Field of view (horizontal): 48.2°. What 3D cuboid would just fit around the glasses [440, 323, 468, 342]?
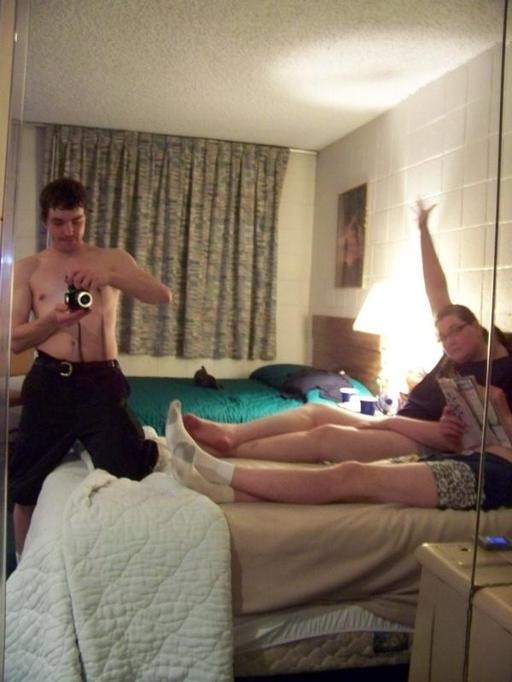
[{"bbox_3d":[0.481,-0.024,1.403,0.063,0.049,0.016,4,5,17],"label":"glasses"}]

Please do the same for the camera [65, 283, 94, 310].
[{"bbox_3d":[-0.363,-0.089,1.172,0.037,0.059,0.058,-12,8,-26],"label":"camera"}]

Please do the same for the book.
[{"bbox_3d":[0.514,0.166,1.337,0.064,0.203,0.154,-17,7,-41],"label":"book"}]

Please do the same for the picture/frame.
[{"bbox_3d":[0.253,-0.284,1.504,0.018,0.253,0.132,-1,7,-26],"label":"picture/frame"}]

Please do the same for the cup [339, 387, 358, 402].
[{"bbox_3d":[0.242,0.133,1.459,0.040,0.032,0.039,2,19,-1],"label":"cup"}]

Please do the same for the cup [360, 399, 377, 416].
[{"bbox_3d":[0.293,0.169,1.483,0.045,0.044,0.044,1,5,0],"label":"cup"}]
